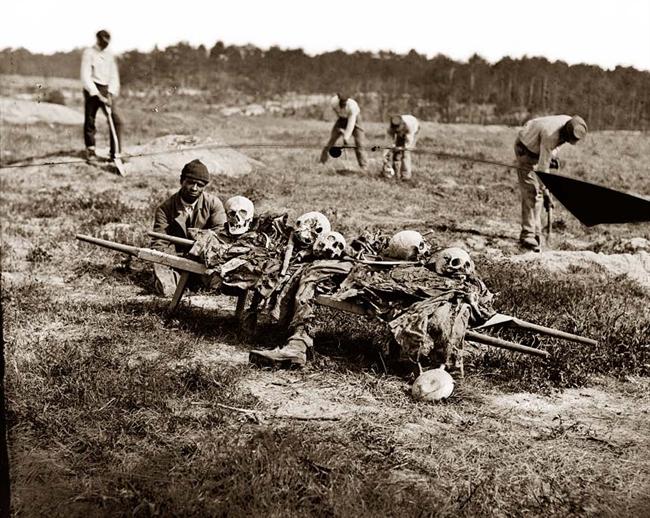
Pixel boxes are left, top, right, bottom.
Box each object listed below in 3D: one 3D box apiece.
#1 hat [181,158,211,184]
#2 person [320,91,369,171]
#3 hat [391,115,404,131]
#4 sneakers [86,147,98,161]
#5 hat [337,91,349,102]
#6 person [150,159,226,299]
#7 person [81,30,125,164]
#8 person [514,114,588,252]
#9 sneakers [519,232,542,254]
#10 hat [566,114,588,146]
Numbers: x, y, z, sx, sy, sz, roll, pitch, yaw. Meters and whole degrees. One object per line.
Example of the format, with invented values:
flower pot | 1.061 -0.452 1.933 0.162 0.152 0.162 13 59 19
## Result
hat | -1.221 -0.835 7.921 0.188 0.187 0.254 11 3 -12
person | 0.214 -1.305 8.507 0.487 0.763 0.453 3 11 -2
hat | 0.717 -1.356 8.280 0.099 0.149 0.139 -4 46 8
sneakers | -2.391 -1.074 8.541 0.081 0.126 0.130 0 55 -2
hat | 0.179 -1.643 8.403 0.135 0.096 0.080 15 16 41
person | -1.335 -0.316 8.125 0.716 1.319 0.447 1 11 -10
person | -2.229 -1.609 8.331 0.408 1.318 0.288 0 11 -16
person | 2.037 -0.705 7.747 0.704 1.296 0.402 11 14 34
sneakers | 1.957 -0.168 7.952 0.192 0.203 0.124 0 0 36
hat | 2.267 -1.163 7.457 0.165 0.194 0.236 20 15 -9
